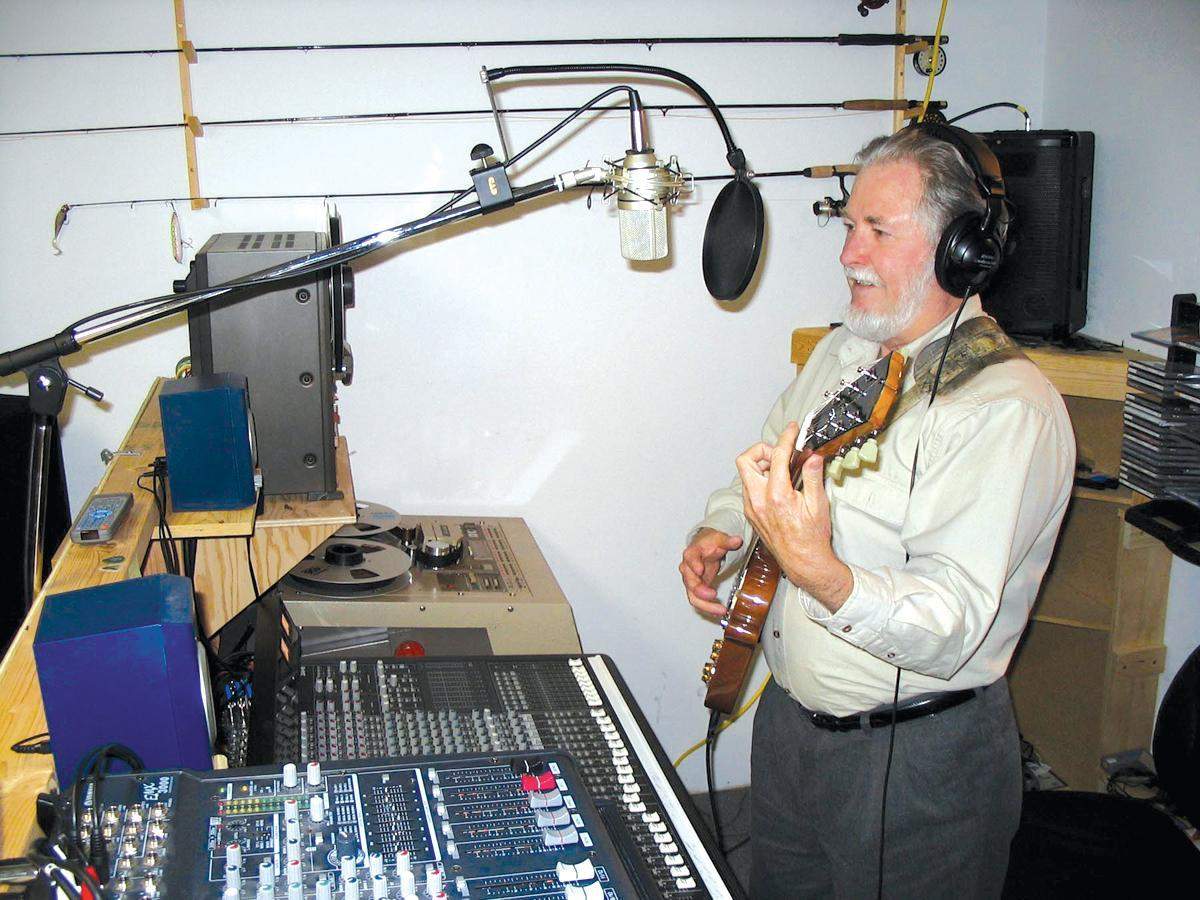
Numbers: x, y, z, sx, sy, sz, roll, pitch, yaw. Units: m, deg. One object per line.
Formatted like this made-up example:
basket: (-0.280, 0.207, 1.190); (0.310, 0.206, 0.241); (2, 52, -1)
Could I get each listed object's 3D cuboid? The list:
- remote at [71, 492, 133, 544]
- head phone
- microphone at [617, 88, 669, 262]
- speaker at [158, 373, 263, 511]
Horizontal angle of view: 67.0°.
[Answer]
remote: (-1.049, 0.119, 1.905); (0.069, 0.046, 0.156); (-1, 27, -5)
head phone: (0.772, -0.481, 1.858); (0.123, 0.299, 0.330); (4, 10, 14)
microphone: (0.086, -0.585, 1.943); (0.100, 0.339, 0.104); (1, 20, 13)
speaker: (-0.963, -0.002, 2.192); (0.235, 0.293, 0.229); (0, 3, 43)
